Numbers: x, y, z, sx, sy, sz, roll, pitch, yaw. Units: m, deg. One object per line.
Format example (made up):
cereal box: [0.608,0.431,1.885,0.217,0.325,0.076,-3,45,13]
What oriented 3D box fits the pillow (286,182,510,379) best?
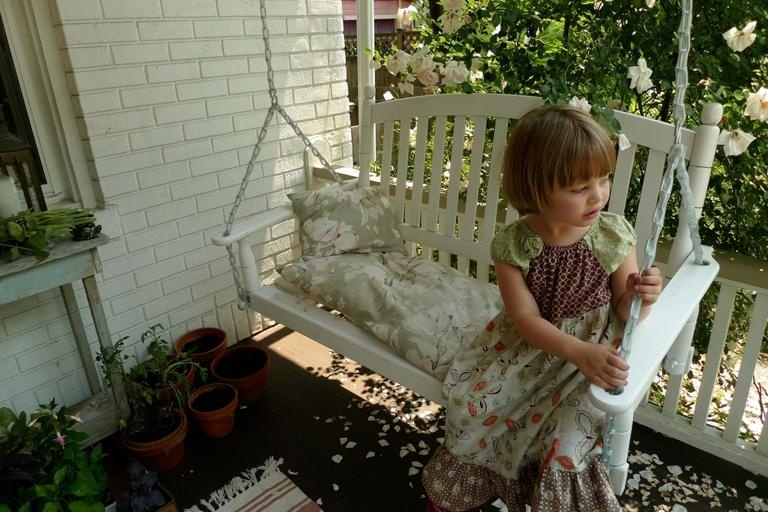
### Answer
pillow: [-0.043,0.096,2.415,1.059,0.372,0.686,27,41,34]

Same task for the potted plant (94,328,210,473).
potted plant: [-1.153,0.733,2.475,0.444,0.631,0.487,11,24,31]

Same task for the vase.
vase: [-0.860,0.675,2.699,0.510,0.334,0.531,-1,19,-3]
